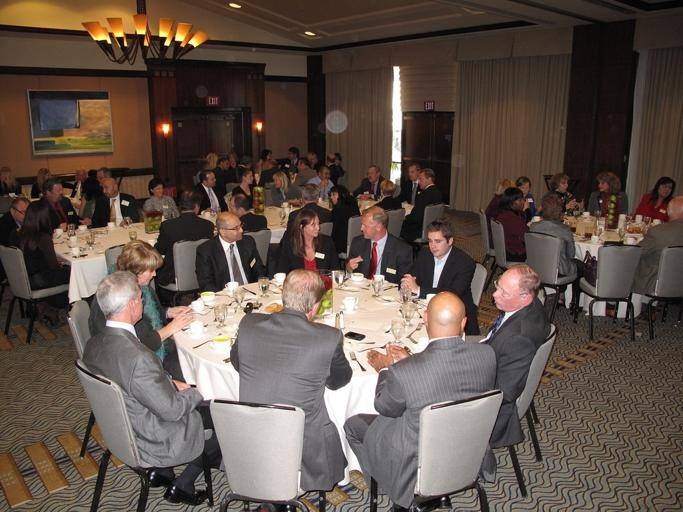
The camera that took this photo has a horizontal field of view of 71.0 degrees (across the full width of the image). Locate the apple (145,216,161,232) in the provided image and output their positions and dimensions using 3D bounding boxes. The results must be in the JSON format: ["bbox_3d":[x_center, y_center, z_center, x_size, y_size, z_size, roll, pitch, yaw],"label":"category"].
[{"bbox_3d":[-2.346,-0.400,5.926,0.107,0.213,0.209,4,8,32],"label":"apple"}]

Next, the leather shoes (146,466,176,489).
[{"bbox_3d":[-1.152,1.419,3.055,0.136,0.110,0.324,0,-26,-6],"label":"leather shoes"}]

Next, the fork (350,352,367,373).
[{"bbox_3d":[0.104,0.676,3.048,0.039,0.034,0.234,-13,21,-8],"label":"fork"}]

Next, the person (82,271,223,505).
[{"bbox_3d":[-1.123,0.893,2.855,0.584,1.605,0.459,1,16,11],"label":"person"}]

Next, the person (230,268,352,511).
[{"bbox_3d":[-0.303,0.823,2.862,0.712,1.339,0.651,8,14,5],"label":"person"}]

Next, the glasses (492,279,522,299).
[{"bbox_3d":[1.120,0.229,3.168,0.121,0.066,0.121,6,22,-9],"label":"glasses"}]

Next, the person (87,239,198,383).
[{"bbox_3d":[-1.503,0.548,3.563,0.693,1.241,0.587,-5,20,-26],"label":"person"}]

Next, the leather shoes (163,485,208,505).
[{"bbox_3d":[-0.995,1.551,3.136,0.331,0.144,0.124,14,-10,-27],"label":"leather shoes"}]
